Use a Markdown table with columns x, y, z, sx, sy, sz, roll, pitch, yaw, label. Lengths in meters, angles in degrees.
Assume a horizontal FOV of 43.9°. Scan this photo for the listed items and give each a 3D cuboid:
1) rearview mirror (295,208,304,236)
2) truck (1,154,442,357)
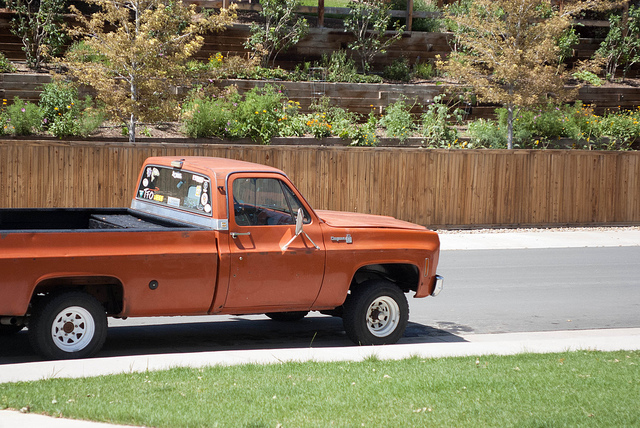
| x | y | z | sx | sy | sz | roll | pitch | yaw | label |
| --- | --- | --- | --- | --- | --- | --- | --- | --- | --- |
| -0.356 | 0.134 | 13.387 | 0.101 | 0.473 | 0.259 | 2 | 12 | -4 | rearview mirror |
| -1.729 | 0.745 | 14.417 | 7.335 | 2.864 | 3.520 | -2 | 6 | -21 | truck |
